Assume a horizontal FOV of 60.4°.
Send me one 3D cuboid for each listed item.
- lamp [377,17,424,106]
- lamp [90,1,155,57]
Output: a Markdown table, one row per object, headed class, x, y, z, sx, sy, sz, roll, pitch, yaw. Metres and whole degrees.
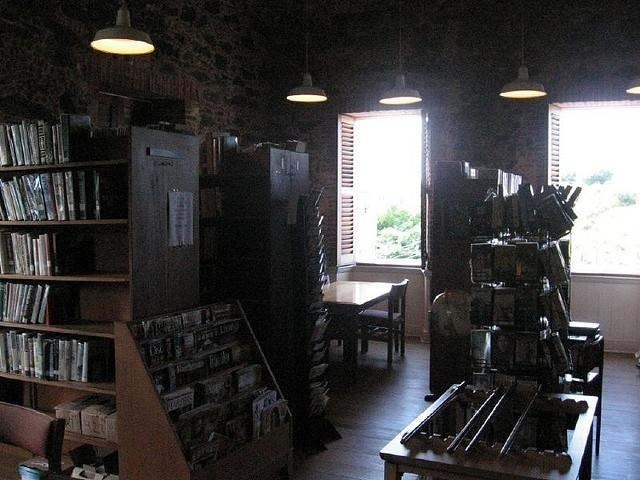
| class | x | y | z | sx | sy | sz | roll | pitch | yaw |
| --- | --- | --- | --- | --- | --- | --- | --- | --- | --- |
| lamp | 1.001 | -2.194 | 6.650 | 0.443 | 1.163 | 1.426 | 1 | 7 | 11 |
| lamp | -1.485 | -1.612 | 4.172 | 0.434 | 0.308 | 0.454 | 1 | 6 | 9 |
